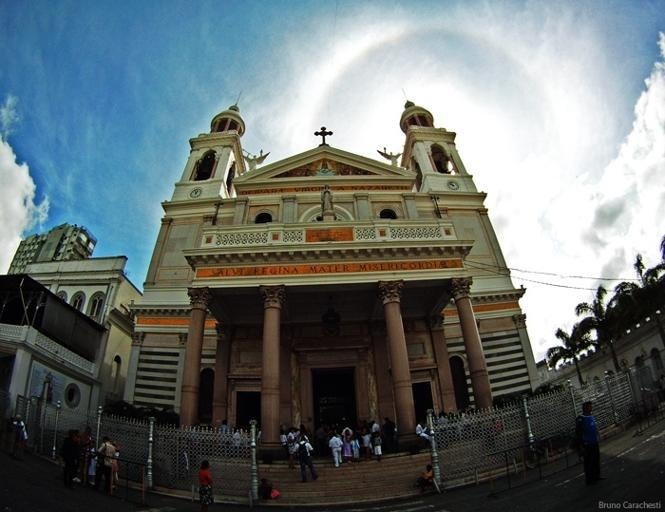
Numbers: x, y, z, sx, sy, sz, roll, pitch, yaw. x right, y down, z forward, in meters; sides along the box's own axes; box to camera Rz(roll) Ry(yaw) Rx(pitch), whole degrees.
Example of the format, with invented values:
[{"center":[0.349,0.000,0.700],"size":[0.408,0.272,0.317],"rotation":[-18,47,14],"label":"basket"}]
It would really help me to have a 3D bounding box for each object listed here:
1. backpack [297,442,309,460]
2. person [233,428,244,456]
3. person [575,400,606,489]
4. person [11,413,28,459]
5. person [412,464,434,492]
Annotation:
[{"center":[-1.037,6.948,12.376],"size":[0.406,0.744,0.413],"rotation":[-5,-11,-13],"label":"backpack"},{"center":[-3.225,6.372,11.733],"size":[0.312,0.720,0.508],"rotation":[-3,-11,-21],"label":"person"},{"center":[6.267,4.605,8.490],"size":[0.486,1.916,0.636],"rotation":[-13,-12,28],"label":"person"},{"center":[-10.863,6.203,12.014],"size":[0.340,1.272,0.896],"rotation":[3,-15,-45],"label":"person"},{"center":[3.016,7.109,11.210],"size":[0.672,0.724,0.455],"rotation":[-6,-11,-7],"label":"person"}]
